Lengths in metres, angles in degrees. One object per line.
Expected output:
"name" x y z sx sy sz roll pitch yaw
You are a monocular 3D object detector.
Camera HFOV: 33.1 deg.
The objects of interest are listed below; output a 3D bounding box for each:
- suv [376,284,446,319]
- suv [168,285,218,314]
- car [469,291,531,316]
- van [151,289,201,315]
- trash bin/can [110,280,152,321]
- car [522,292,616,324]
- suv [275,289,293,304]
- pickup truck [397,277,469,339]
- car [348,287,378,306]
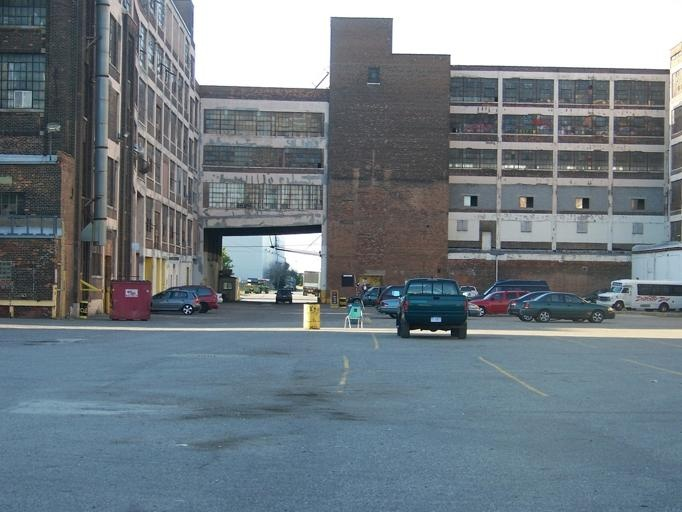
"suv" 2.896 1.913 47.212 1.966 1.614 3.369 0 5 4
"suv" -8.513 2.432 67.140 2.624 1.045 1.185 2 -2 -4
"car" 9.036 2.745 66.067 3.121 1.069 1.379 1 -2 -1
"van" -9.250 2.546 64.509 2.546 1.383 0.888 -1 -2 -8
"trash bin/can" -9.907 2.081 54.174 1.936 1.857 1.901 0 0 -4
"car" 11.170 2.614 57.395 4.279 1.303 1.816 -1 -2 0
"suv" -4.958 3.492 100.462 1.268 1.200 1.866 -2 -2 3
"pickup truck" 3.394 1.942 42.589 2.411 2.247 1.531 -2 -2 1
"car" 1.620 2.855 80.549 1.924 0.830 1.252 1 -5 -3
